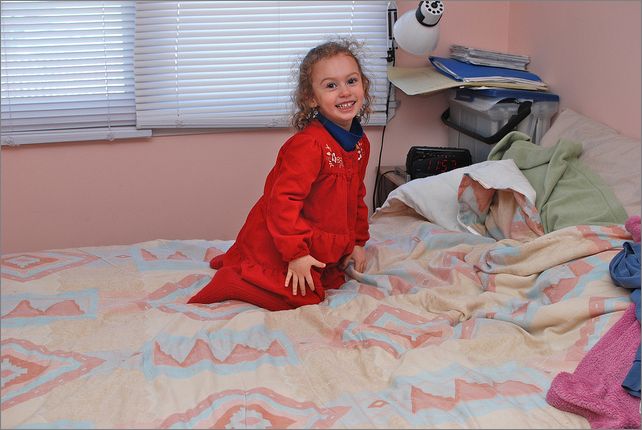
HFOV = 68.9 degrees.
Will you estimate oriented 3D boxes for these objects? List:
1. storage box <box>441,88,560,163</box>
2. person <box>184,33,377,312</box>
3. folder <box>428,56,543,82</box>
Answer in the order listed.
[{"bbox_3d":[0.944,-0.428,2.567,0.386,0.561,0.538,-2,13,-10],"label":"storage box"},{"bbox_3d":[-0.147,-0.159,1.956,0.751,1.041,0.595,-8,19,-29],"label":"person"},{"bbox_3d":[0.865,-0.749,2.435,0.549,0.091,0.306,3,23,-3],"label":"folder"}]
